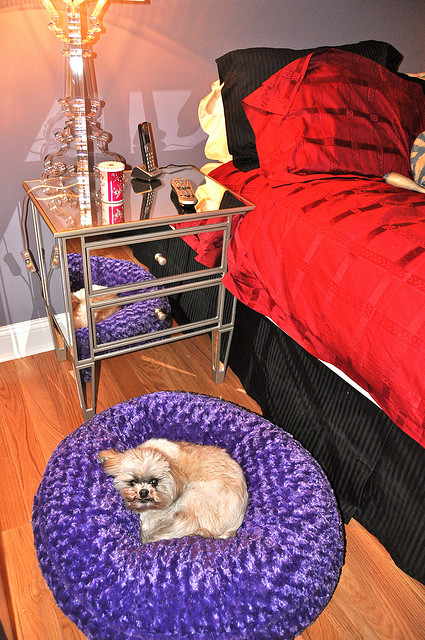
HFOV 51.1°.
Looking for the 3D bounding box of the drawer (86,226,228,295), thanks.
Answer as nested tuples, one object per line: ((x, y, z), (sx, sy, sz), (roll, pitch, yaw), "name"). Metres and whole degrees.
((-0.146, -0.177, 1.282), (0.268, 0.063, 0.255), (-12, 35, -21), "drawer")

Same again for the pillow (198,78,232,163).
((0.003, -0.717, 1.638), (0.207, 0.268, 0.082), (-13, 21, -34), "pillow")

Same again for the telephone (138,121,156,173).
((-0.199, -0.532, 1.378), (0.047, 0.142, 0.100), (0, 26, -7), "telephone")

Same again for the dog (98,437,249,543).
((-0.047, 0.351, 0.972), (0.196, 0.132, 0.290), (8, 9, 9), "dog")

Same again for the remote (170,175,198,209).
((-0.076, -0.386, 1.312), (0.056, 0.034, 0.154), (1, 41, -15), "remote")

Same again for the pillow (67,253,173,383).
((-0.303, -0.082, 1.292), (0.332, 0.120, 0.303), (31, 31, 26), "pillow")
